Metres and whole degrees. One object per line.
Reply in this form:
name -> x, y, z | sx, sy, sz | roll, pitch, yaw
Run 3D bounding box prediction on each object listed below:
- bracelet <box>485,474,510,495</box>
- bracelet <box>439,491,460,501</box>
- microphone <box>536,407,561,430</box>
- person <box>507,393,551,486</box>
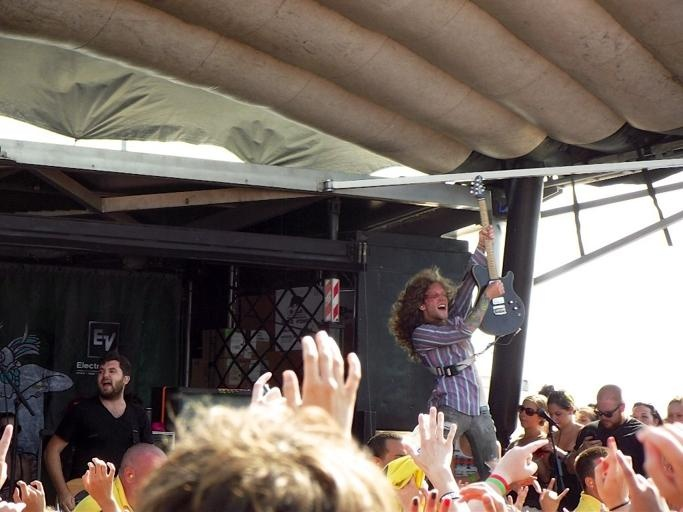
bracelet -> 0.764, 1.094, 3.674 | 0.104, 0.078, 0.103 | 43, -11, 1
bracelet -> 0.482, 1.074, 3.377 | 0.065, 0.018, 0.064 | 1, -6, -44
microphone -> 2.112, 1.667, 7.629 | 0.262, 0.168, 0.108 | 29, -46, -21
person -> 2.022, 2.105, 7.931 | 0.419, 1.327, 0.392 | -8, 17, 4
